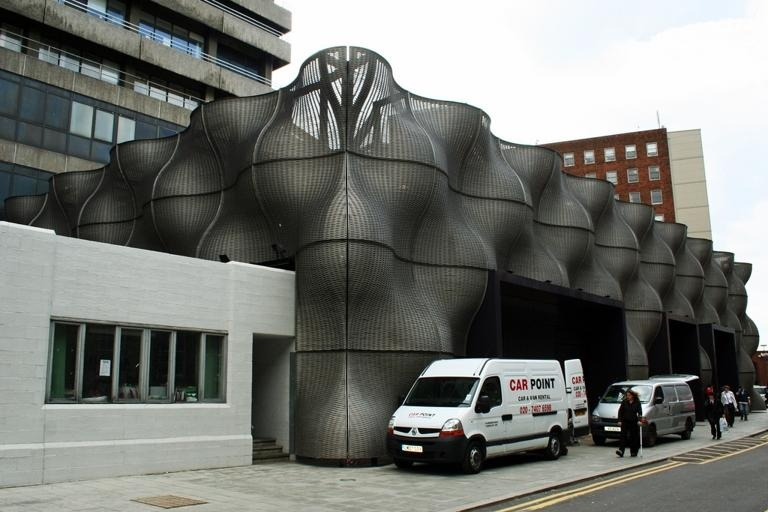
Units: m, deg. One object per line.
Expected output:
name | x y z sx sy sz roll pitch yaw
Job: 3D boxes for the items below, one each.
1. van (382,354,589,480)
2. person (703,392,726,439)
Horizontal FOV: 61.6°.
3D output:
van | 3.373 4.981 20.699 6.876 3.292 2.313 7 -13 -38
person | 13.924 6.601 26.961 0.592 1.940 1.587 -6 -11 27
